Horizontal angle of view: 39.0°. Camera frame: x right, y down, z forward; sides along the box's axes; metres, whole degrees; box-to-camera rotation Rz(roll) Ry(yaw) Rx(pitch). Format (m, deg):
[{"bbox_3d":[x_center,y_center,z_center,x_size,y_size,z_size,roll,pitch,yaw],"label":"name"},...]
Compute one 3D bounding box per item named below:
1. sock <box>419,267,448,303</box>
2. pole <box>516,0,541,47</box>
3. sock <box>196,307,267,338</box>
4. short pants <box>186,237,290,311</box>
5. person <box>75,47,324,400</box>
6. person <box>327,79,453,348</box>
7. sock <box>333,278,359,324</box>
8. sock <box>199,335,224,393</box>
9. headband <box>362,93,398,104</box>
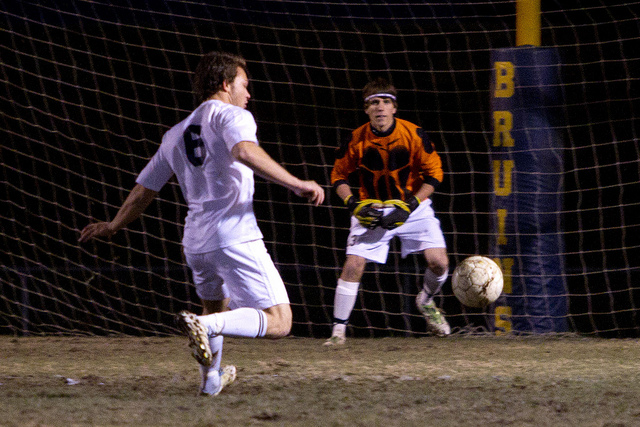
[{"bbox_3d":[1.218,0.759,9.834,0.281,0.422,0.154,1,13,4],"label":"sock"},{"bbox_3d":[2.354,-2.146,10.269,0.263,0.492,0.126,1,14,4],"label":"pole"},{"bbox_3d":[-0.742,0.933,7.762,0.494,0.145,0.288,-13,26,-38],"label":"sock"},{"bbox_3d":[-0.731,0.507,7.962,0.832,0.608,0.309,6,14,30],"label":"short pants"},{"bbox_3d":[-0.857,0.078,8.031,1.220,2.992,1.190,-8,16,-32],"label":"person"},{"bbox_3d":[0.755,-0.004,9.682,1.357,2.832,0.717,-2,14,-8],"label":"person"},{"bbox_3d":[0.277,0.916,9.677,0.252,0.491,0.161,0,13,0],"label":"sock"},{"bbox_3d":[-0.955,1.291,7.948,0.210,0.533,0.180,-2,13,-6],"label":"sock"},{"bbox_3d":[0.637,-1.218,9.599,0.337,0.115,0.169,0,11,-1],"label":"headband"}]
